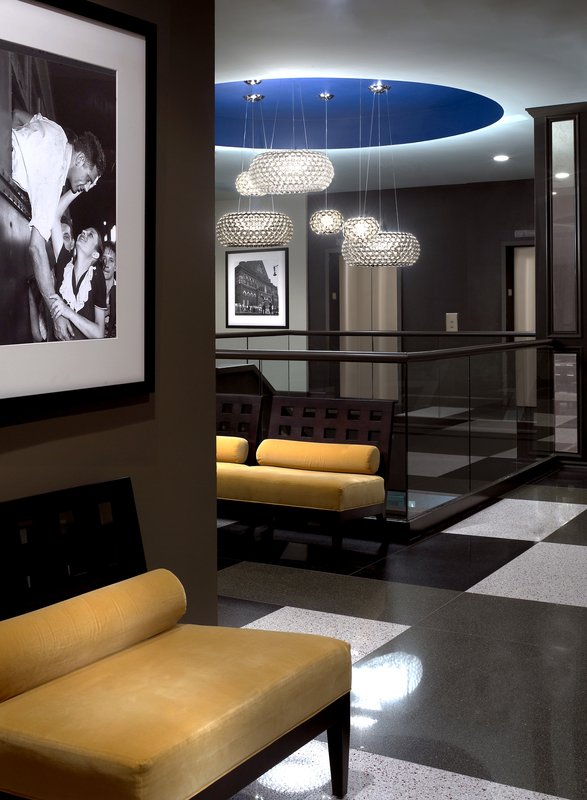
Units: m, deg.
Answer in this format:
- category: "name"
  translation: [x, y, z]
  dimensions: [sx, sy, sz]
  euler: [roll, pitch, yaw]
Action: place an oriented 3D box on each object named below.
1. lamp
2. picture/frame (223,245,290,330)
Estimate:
- category: "lamp"
  translation: [0.460, -3.235, 8.338]
  dimensions: [2.875, 2.628, 1.059]
  euler: [-2, 8, -39]
- category: "picture/frame"
  translation: [-0.679, -2.254, 12.121]
  dimensions: [1.494, 1.936, 0.081]
  euler: [5, 7, 33]
